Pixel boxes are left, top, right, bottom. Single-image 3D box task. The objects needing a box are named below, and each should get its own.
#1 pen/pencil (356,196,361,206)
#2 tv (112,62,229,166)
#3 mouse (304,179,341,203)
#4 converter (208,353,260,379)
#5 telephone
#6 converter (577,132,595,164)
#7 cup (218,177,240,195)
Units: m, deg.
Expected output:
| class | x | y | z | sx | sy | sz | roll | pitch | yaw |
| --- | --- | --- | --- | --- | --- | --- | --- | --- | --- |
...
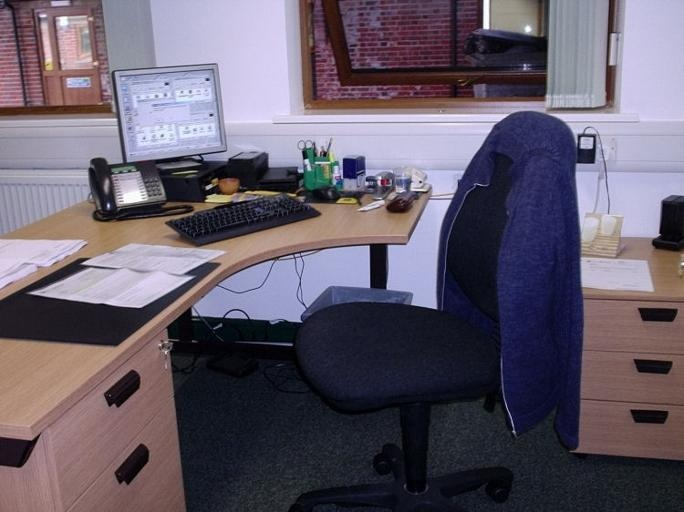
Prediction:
| class | x | y | z | sx | sy | sz | roll | pitch | yaw |
| --- | --- | --- | --- | --- | --- | --- | --- | --- | --- |
| pen/pencil | 0.070 | -0.235 | 2.365 | 0.015 | 0.014 | 0.037 | -28 | 43 | 28 |
| tv | -0.759 | -0.635 | 2.496 | 0.589 | 0.460 | 0.061 | -8 | 12 | -23 |
| mouse | -0.096 | -0.279 | 2.423 | 0.149 | 0.046 | 0.088 | 9 | 18 | 42 |
| converter | -0.555 | 0.540 | 2.825 | 0.144 | 0.044 | 0.139 | 8 | 10 | 14 |
| telephone | -0.886 | -0.318 | 2.302 | 0.261 | 0.115 | 0.244 | -13 | 54 | -30 |
| converter | 1.098 | -0.484 | 2.498 | 0.083 | 0.128 | 0.076 | 10 | 25 | 38 |
| cup | -0.503 | -0.315 | 2.494 | 0.082 | 0.051 | 0.080 | -2 | 9 | 0 |
